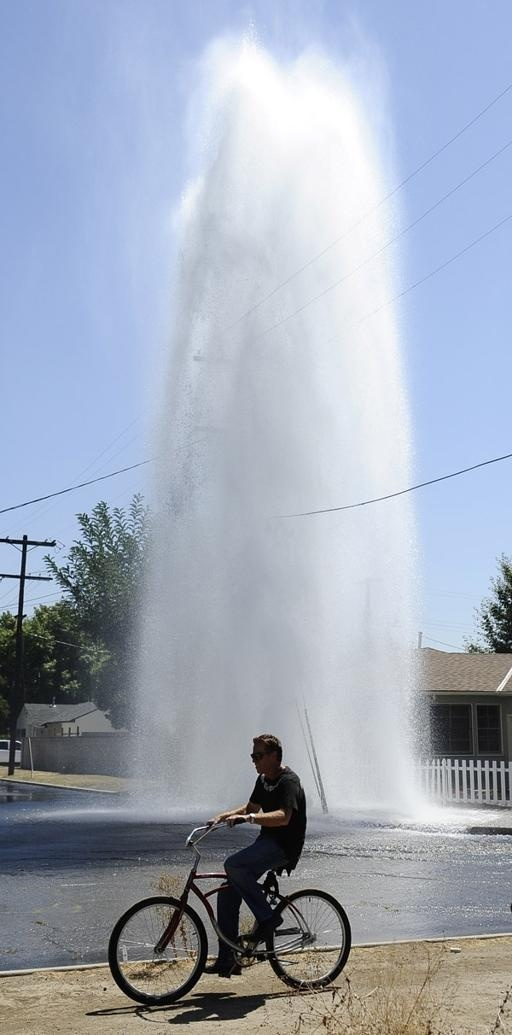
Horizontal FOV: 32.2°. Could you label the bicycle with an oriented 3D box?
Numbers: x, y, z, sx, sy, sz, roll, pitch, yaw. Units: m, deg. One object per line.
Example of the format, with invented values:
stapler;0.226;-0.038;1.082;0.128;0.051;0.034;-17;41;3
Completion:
bicycle;-0.171;2.396;5.467;1.556;1.179;0.908;4;-12;-18
